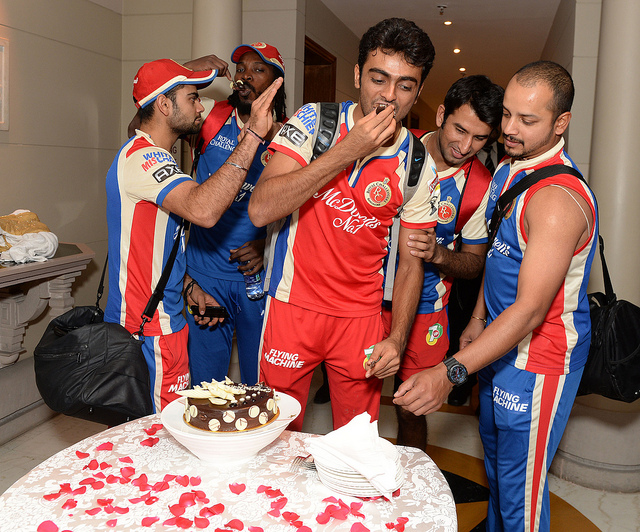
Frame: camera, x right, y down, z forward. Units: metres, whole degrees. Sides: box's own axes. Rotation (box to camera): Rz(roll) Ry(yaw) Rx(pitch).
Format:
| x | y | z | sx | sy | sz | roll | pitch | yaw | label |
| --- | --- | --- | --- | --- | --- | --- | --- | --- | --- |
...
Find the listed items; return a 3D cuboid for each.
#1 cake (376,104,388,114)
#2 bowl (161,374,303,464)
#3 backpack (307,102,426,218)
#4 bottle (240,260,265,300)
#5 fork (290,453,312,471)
| x | y | z | sx | sy | sz | roll | pitch | yaw | label |
| --- | --- | --- | --- | --- | --- | --- | --- | --- | --- |
| 0.209 | -0.530 | 1.569 | 0.034 | 0.031 | 0.061 | 4 | 13 | 10 | cake |
| -0.260 | 0.327 | 1.292 | 0.264 | 0.169 | 0.268 | 5 | 4 | 0 | bowl |
| 0.162 | -0.441 | 1.884 | 0.394 | 0.415 | 0.342 | 13 | 18 | -10 | backpack |
| -0.362 | 0.075 | 2.500 | 0.060 | 0.070 | 0.188 | 13 | -14 | 17 | bottle |
| -0.053 | 0.543 | 1.285 | 0.040 | 0.011 | 0.038 | -35 | 7 | 12 | fork |
